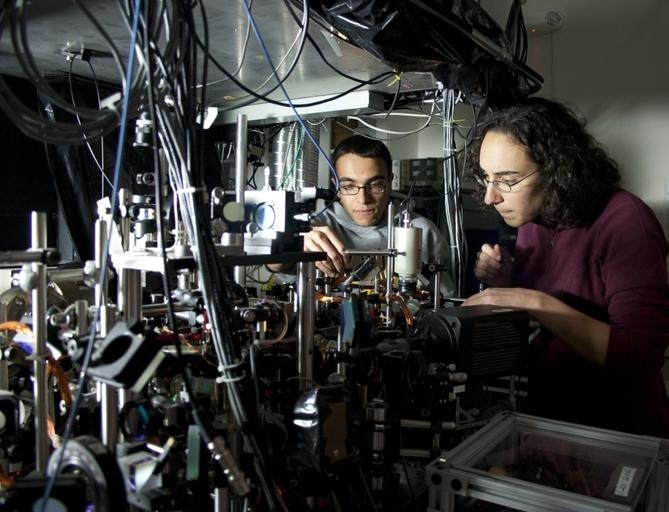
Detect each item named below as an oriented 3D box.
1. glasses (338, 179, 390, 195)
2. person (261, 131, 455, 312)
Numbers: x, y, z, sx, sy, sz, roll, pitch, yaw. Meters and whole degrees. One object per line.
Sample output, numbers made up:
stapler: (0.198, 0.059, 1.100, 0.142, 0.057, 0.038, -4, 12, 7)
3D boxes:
glasses: (0.177, -0.419, 3.888, 0.301, 0.095, 0.164, -1, 5, 1)
person: (0.192, -0.228, 3.401, 0.887, 0.969, 1.971, 0, 5, 10)
